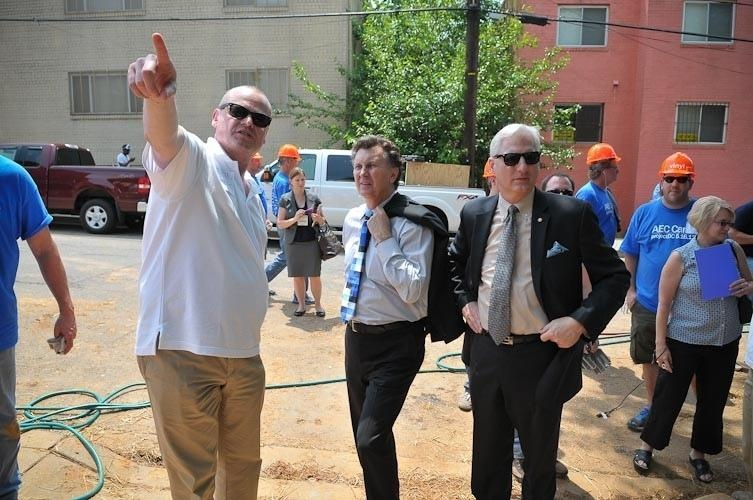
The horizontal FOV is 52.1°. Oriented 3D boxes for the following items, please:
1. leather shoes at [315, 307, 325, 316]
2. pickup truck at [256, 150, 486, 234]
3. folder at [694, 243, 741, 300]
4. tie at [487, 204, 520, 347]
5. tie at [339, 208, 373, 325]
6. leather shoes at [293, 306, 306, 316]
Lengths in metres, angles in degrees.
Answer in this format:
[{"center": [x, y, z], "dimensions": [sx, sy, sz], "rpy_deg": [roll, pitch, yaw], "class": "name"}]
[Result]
[{"center": [-0.860, 0.912, 11.659], "dimensions": [0.134, 0.148, 0.216], "rpy_deg": [-1, 10, -4], "class": "leather shoes"}, {"center": [-0.099, -1.313, 15.679], "dimensions": [4.474, 1.678, 1.838], "rpy_deg": [3, 3, 2], "class": "pickup truck"}, {"center": [3.636, 0.245, 8.237], "dimensions": [0.535, 0.663, 0.070], "rpy_deg": [-9, -5, 6], "class": "folder"}, {"center": [1.213, 0.203, 7.382], "dimensions": [0.270, 1.271, 0.288], "rpy_deg": [0, 0, 7], "class": "tie"}, {"center": [-0.187, 0.166, 7.867], "dimensions": [0.284, 1.188, 0.296], "rpy_deg": [2, 0, 21], "class": "tie"}, {"center": [-1.172, 0.906, 11.660], "dimensions": [0.178, 0.130, 0.252], "rpy_deg": [-1, 9, -5], "class": "leather shoes"}]
